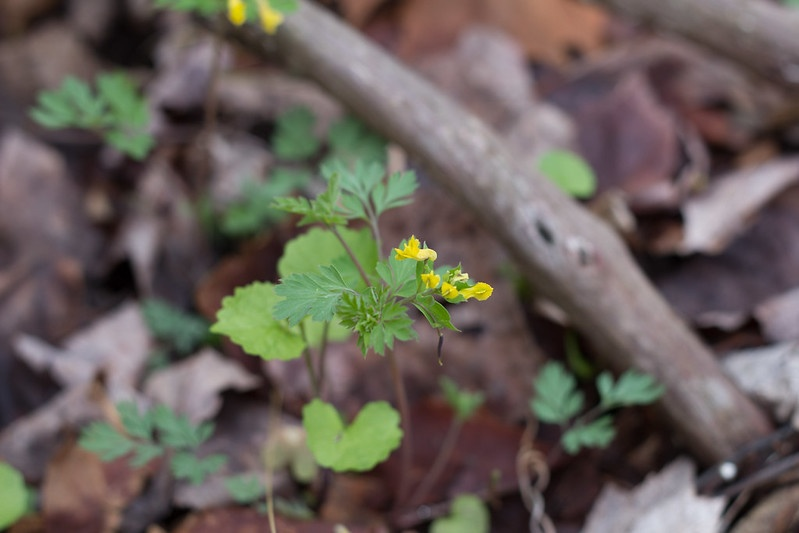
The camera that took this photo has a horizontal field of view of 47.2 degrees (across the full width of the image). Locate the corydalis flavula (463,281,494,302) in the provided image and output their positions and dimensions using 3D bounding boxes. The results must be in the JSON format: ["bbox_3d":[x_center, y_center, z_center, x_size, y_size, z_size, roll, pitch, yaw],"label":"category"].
[{"bbox_3d":[0.306,0.089,3.604,0.122,0.044,0.066,-5,80,30],"label":"corydalis flavula"}]

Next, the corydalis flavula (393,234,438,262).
[{"bbox_3d":[0.058,-0.069,3.597,0.115,0.115,0.061,3,100,30],"label":"corydalis flavula"}]
